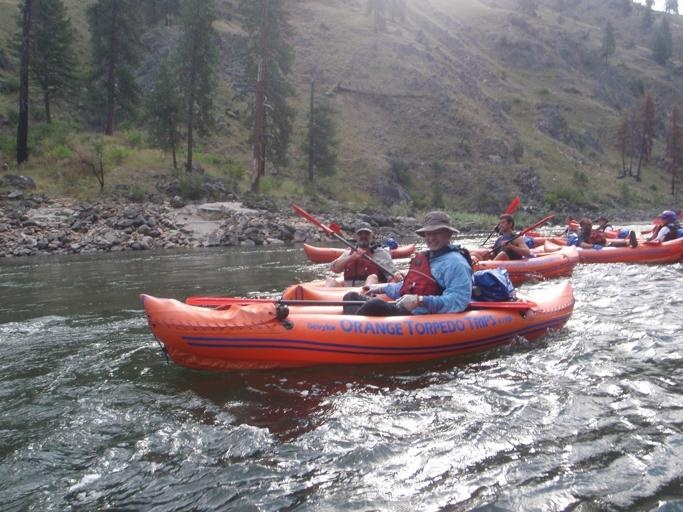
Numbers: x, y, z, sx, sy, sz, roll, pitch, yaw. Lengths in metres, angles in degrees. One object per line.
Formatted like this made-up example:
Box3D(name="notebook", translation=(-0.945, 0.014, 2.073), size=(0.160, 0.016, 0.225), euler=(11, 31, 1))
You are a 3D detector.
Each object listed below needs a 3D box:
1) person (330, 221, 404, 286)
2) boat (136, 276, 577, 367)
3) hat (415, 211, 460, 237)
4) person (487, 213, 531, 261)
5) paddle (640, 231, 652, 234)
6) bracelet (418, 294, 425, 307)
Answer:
Box3D(name="person", translation=(0.550, 0.031, 15.689), size=(1.167, 0.944, 1.492), euler=(-1, -6, 11))
Box3D(name="boat", translation=(0.309, 1.570, 13.859), size=(8.271, 1.751, 2.622), euler=(-2, 5, -15))
Box3D(name="hat", translation=(1.783, -0.649, 13.796), size=(0.566, 0.336, 0.606), euler=(3, -2, -20))
Box3D(name="person", translation=(4.359, -0.521, 18.292), size=(1.016, 1.194, 0.943), euler=(-1, 6, 28))
Box3D(name="paddle", translation=(11.723, -0.942, 26.980), size=(0.456, 0.110, 0.453), euler=(1, 7, 26))
Box3D(name="bracelet", translation=(1.516, 0.856, 13.529), size=(0.187, 0.250, 0.136), euler=(0, 6, 7))
